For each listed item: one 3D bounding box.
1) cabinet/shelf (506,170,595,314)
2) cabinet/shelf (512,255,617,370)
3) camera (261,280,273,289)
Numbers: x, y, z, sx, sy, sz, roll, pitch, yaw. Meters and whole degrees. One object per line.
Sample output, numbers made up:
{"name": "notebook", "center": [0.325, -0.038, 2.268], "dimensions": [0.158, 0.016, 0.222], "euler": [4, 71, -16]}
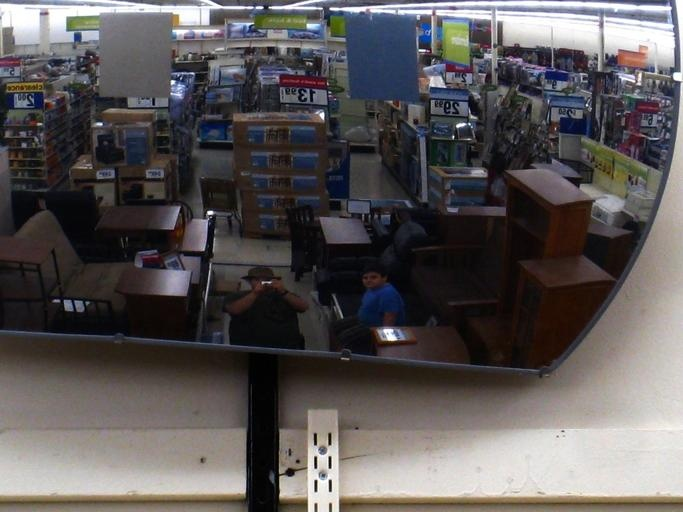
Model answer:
{"name": "cabinet/shelf", "center": [0.700, 0.032, 2.185], "dimensions": [0.176, 0.646, 0.309], "euler": [-12, 36, -11]}
{"name": "cabinet/shelf", "center": [0.762, 0.241, 2.192], "dimensions": [0.261, 0.454, 0.255], "euler": [0, 25, -1]}
{"name": "camera", "center": [-0.244, 0.094, 1.997], "dimensions": [0.036, 0.027, 0.021], "euler": [2, 13, -1]}
